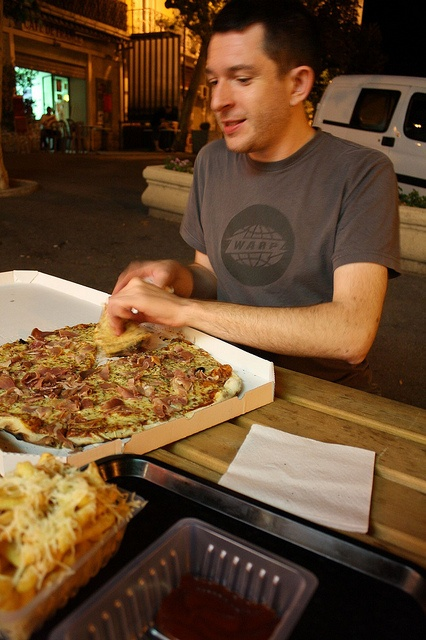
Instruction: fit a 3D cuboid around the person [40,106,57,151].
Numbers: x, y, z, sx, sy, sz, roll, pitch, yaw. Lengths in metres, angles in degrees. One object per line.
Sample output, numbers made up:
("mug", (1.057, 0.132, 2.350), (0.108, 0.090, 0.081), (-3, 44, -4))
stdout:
("person", (-7.602, -8.845, 22.044), (0.769, 1.923, 1.540), (1, 13, -19))
